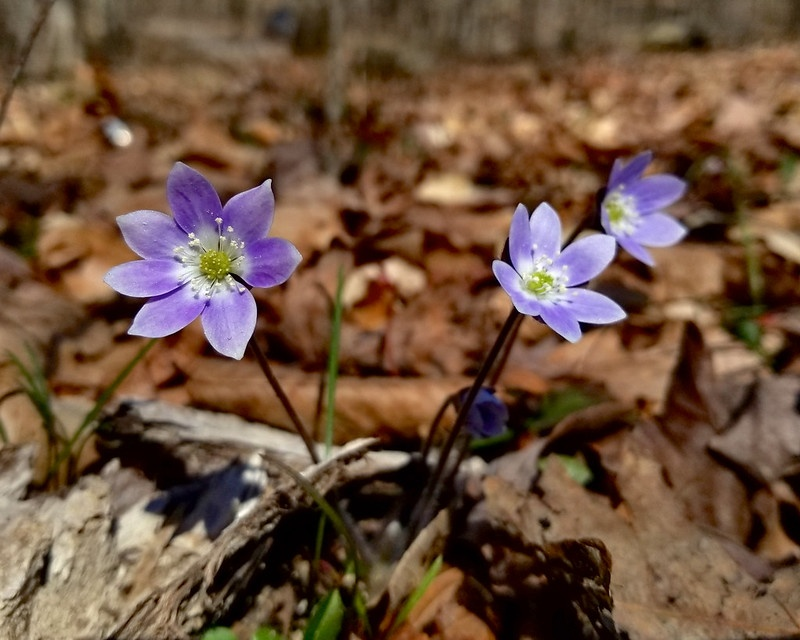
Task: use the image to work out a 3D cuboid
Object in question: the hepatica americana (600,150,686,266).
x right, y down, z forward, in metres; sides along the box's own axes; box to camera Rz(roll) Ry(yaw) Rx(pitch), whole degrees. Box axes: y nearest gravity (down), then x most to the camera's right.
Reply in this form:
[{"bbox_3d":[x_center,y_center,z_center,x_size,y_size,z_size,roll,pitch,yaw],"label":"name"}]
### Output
[{"bbox_3d":[1.267,-0.532,4.704,0.574,0.611,0.271,-9,0,-14],"label":"hepatica americana"}]
